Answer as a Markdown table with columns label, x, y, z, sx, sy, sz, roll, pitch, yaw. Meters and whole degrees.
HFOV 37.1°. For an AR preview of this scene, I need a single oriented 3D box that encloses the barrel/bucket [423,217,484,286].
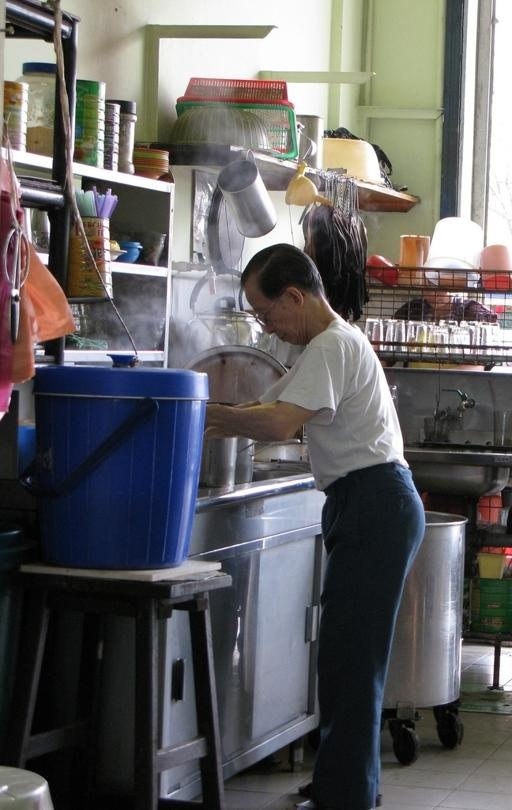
| label | x | y | z | sx | sy | sz | roll | pitch | yaw |
| --- | --- | --- | --- | --- | --- | --- | --- | --- | --- |
| barrel/bucket | 1.064 | -0.831 | 4.107 | 0.283 | 0.435 | 0.895 | 2 | 6 | 15 |

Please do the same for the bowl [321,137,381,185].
| label | x | y | z | sx | sy | sz | roll | pitch | yaw |
| --- | --- | --- | --- | --- | --- | --- | --- | --- | --- |
| bowl | 0.514 | -1.290 | 4.064 | 0.322 | 0.195 | 0.321 | 1 | 4 | 0 |

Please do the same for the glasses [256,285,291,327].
| label | x | y | z | sx | sy | sz | roll | pitch | yaw |
| --- | --- | --- | --- | --- | --- | --- | --- | --- | --- |
| glasses | 0.047 | -0.219 | 1.758 | 0.062 | 0.078 | 0.031 | 20 | 50 | 27 |

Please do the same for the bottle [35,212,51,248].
| label | x | y | z | sx | sy | sz | roll | pitch | yaw |
| --- | --- | --- | --- | --- | --- | --- | --- | --- | --- |
| bottle | -0.555 | -0.444 | 1.980 | 0.027 | 0.109 | 0.074 | -1 | 7 | -16 |

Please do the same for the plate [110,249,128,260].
| label | x | y | z | sx | sy | sz | roll | pitch | yaw |
| --- | --- | --- | --- | --- | --- | --- | --- | --- | --- |
| plate | -0.400 | -0.429 | 2.223 | 0.045 | 0.015 | 0.044 | -3 | -3 | -15 |

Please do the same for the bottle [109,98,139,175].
| label | x | y | z | sx | sy | sz | roll | pitch | yaw |
| --- | --- | --- | --- | --- | --- | --- | --- | --- | --- |
| bottle | -0.387 | -0.774 | 2.256 | 0.056 | 0.205 | 0.187 | -1 | 6 | -9 |

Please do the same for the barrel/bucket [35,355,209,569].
| label | x | y | z | sx | sy | sz | roll | pitch | yaw |
| --- | --- | --- | --- | --- | --- | --- | --- | --- | --- |
| barrel/bucket | -0.199 | 0.082 | 1.299 | 0.300 | 0.293 | 0.303 | 0 | 1 | 0 |

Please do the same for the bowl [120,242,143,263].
| label | x | y | z | sx | sy | sz | roll | pitch | yaw |
| --- | --- | --- | --- | --- | --- | --- | --- | --- | --- |
| bowl | -0.376 | -0.450 | 2.304 | 0.067 | 0.048 | 0.069 | -1 | 2 | 0 |

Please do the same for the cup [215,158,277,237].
| label | x | y | z | sx | sy | sz | roll | pitch | yaw |
| --- | --- | --- | --- | --- | --- | --- | --- | --- | --- |
| cup | -0.030 | -0.748 | 2.771 | 0.167 | 0.280 | 0.279 | 3 | 7 | 22 |

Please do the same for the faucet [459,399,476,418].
| label | x | y | z | sx | sy | sz | roll | pitch | yaw |
| --- | --- | --- | --- | --- | --- | --- | --- | --- | --- |
| faucet | 1.097 | 0.024 | 3.965 | 0.084 | 0.141 | 0.041 | -2 | 23 | 7 |

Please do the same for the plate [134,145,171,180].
| label | x | y | z | sx | sy | sz | roll | pitch | yaw |
| --- | --- | --- | --- | --- | --- | --- | --- | --- | --- |
| plate | -0.338 | -0.772 | 2.461 | 0.115 | 0.092 | 0.130 | -1 | -3 | -3 |

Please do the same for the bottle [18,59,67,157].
| label | x | y | z | sx | sy | sz | roll | pitch | yaw |
| --- | --- | --- | --- | --- | --- | --- | --- | --- | --- |
| bottle | -0.488 | -0.674 | 1.718 | 0.071 | 0.220 | 0.167 | -1 | 7 | -17 |

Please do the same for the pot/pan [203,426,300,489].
| label | x | y | z | sx | sy | sz | roll | pitch | yaw |
| --- | --- | --- | --- | --- | --- | --- | --- | --- | --- |
| pot/pan | -0.042 | 0.150 | 1.892 | 0.153 | 0.152 | 0.082 | 4 | -5 | -35 |

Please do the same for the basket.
| label | x | y | z | sx | sy | sz | roll | pitch | yaw |
| --- | --- | --- | --- | --- | --- | --- | --- | --- | --- |
| basket | -0.065 | -1.100 | 2.903 | 0.402 | 0.212 | 0.416 | 0 | -2 | 25 |
